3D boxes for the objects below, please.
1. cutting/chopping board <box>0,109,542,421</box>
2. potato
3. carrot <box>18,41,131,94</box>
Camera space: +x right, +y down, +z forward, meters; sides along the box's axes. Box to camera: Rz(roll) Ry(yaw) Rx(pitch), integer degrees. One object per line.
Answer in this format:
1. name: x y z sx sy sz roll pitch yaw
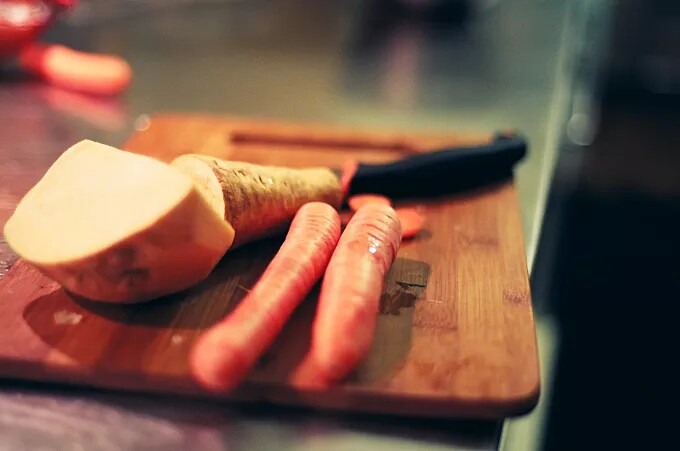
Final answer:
1. cutting/chopping board: -0.061 0.112 0.820 0.534 0.020 0.516 7 36 6
2. potato: -0.283 -0.007 0.789 0.226 0.113 0.239 -12 29 -36
3. carrot: -0.527 -0.316 1.241 0.196 0.101 0.062 10 41 -3
